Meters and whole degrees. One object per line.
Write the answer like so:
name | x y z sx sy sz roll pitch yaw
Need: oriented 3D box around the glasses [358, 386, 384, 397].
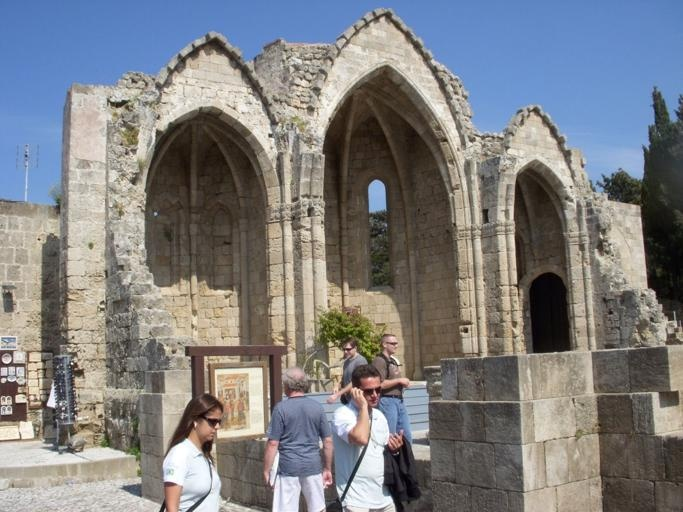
glasses | 0.263 1.187 6.063 0.181 0.076 0.063 3 -11 -24

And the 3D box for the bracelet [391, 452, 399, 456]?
bracelet | 0.487 1.795 6.269 0.047 0.035 0.049 0 0 -20

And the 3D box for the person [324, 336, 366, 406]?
person | 0.046 1.776 8.851 0.481 1.398 0.475 -1 3 -11
